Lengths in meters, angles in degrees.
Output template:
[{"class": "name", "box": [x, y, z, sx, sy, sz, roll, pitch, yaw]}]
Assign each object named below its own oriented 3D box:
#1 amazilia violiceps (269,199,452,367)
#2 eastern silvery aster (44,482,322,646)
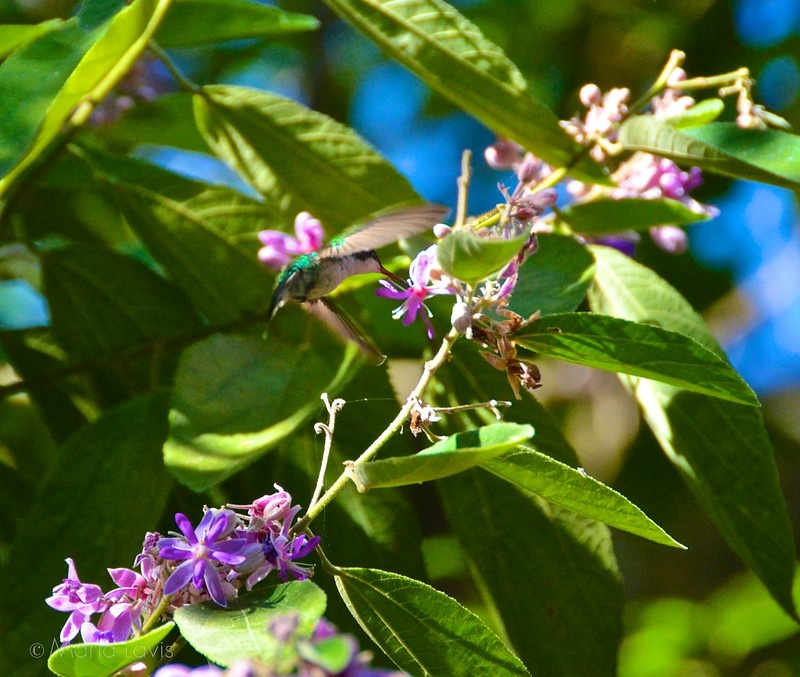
[{"class": "amazilia violiceps", "box": [-0.102, -0.130, 1.721, 0.315, 0.356, 0.265, -8, 75, 16]}, {"class": "eastern silvery aster", "box": [-0.337, 0.367, 1.615, 0.438, 0.166, 0.240, -15, 5, -3]}]
